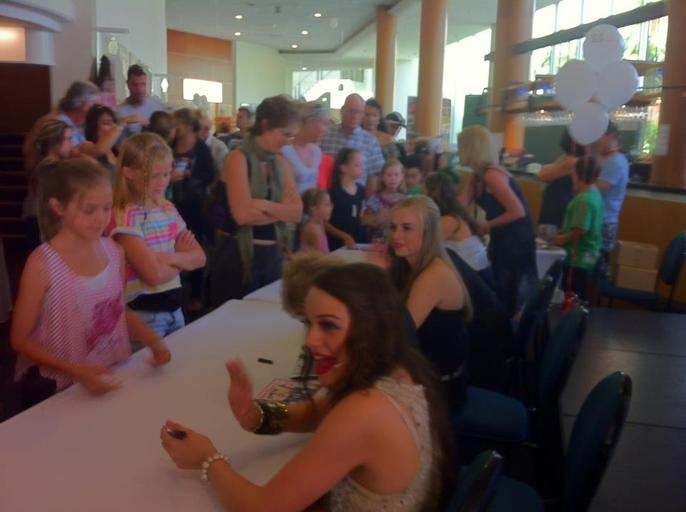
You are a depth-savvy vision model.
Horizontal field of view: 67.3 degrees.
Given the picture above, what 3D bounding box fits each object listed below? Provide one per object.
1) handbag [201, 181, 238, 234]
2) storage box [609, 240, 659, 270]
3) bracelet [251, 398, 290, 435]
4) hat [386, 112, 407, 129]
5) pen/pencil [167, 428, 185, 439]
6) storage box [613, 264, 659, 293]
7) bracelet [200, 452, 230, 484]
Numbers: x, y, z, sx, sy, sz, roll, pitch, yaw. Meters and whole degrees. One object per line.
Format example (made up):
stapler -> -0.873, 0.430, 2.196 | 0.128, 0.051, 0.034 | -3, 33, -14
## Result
handbag -> -0.744, -0.262, 3.158 | 0.230, 0.329, 0.132 | 28, 16, 37
storage box -> 2.645, -0.006, 4.660 | 0.296, 0.199, 0.305 | 6, 8, 20
bracelet -> -0.211, 0.468, 1.496 | 0.078, 0.080, 0.100 | 8, -9, -22
hat -> 0.442, -1.134, 4.219 | 0.143, 0.087, 0.206 | 10, 7, 42
pen/pencil -> -0.440, 0.469, 1.355 | 0.032, 0.013, 0.024 | 22, 4, -6
storage box -> 2.598, 0.200, 4.571 | 0.297, 0.197, 0.303 | 9, 19, 23
bracelet -> -0.337, 0.543, 1.348 | 0.071, 0.026, 0.063 | -37, -20, 10
